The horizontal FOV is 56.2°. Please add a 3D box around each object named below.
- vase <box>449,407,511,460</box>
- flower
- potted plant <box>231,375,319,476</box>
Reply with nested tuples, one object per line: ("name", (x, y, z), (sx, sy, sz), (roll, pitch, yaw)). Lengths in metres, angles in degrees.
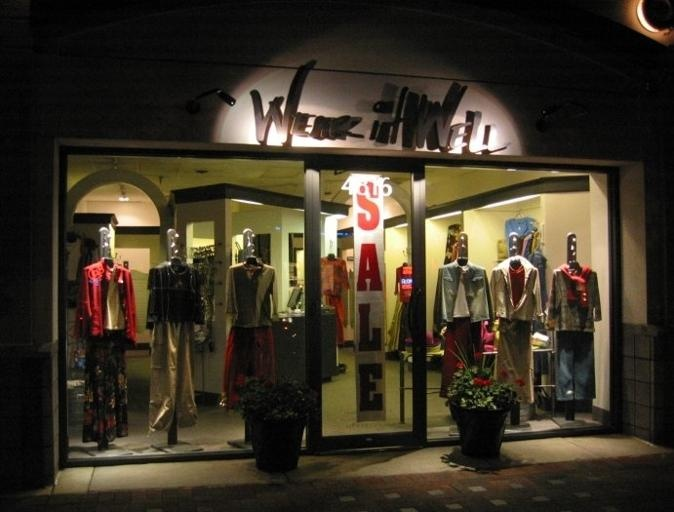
("vase", (1.312, 1.581, 5.854), (0.465, 0.381, 0.474), (-9, -13, 41))
("flower", (1.326, 1.154, 6.074), (0.577, 0.568, 0.674), (0, -5, -13))
("potted plant", (-0.525, 1.514, 5.802), (0.790, 0.880, 0.666), (3, -12, -11))
